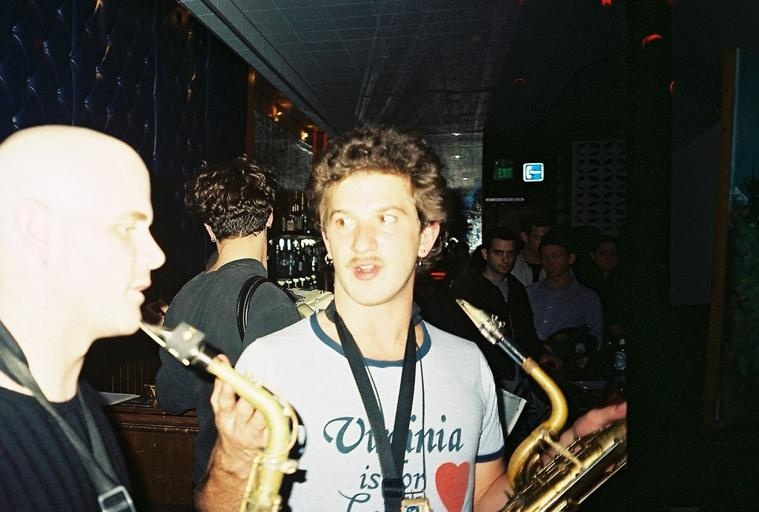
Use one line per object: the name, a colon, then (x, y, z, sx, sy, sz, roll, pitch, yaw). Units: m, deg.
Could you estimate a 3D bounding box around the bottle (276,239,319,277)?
bottle: (-0.550, 0.009, 3.933, 0.230, 0.206, 0.121, 5, -10, -33)
